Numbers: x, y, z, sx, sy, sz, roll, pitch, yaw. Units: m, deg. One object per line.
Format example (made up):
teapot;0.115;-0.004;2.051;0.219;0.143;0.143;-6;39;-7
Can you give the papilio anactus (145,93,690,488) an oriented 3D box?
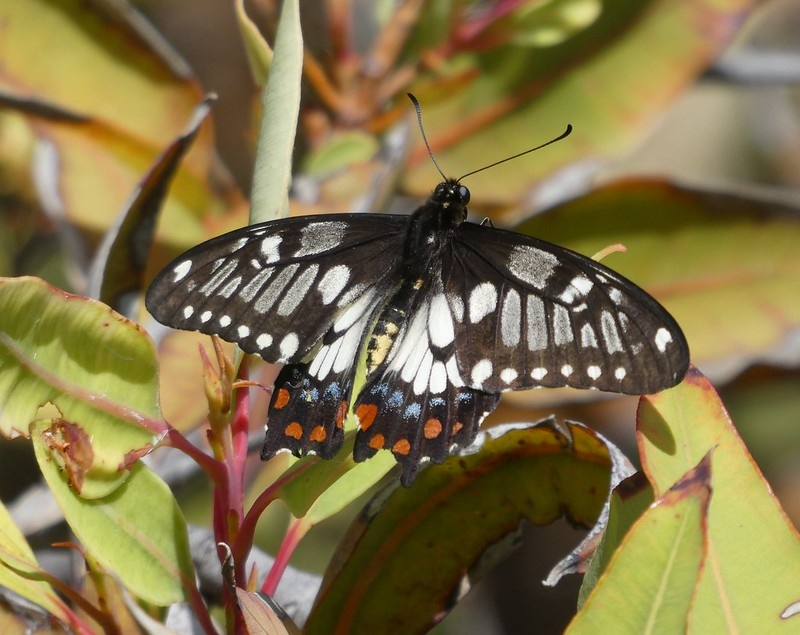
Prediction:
papilio anactus;0.017;-0.019;0.995;0.507;0.129;0.350;12;-62;-8
